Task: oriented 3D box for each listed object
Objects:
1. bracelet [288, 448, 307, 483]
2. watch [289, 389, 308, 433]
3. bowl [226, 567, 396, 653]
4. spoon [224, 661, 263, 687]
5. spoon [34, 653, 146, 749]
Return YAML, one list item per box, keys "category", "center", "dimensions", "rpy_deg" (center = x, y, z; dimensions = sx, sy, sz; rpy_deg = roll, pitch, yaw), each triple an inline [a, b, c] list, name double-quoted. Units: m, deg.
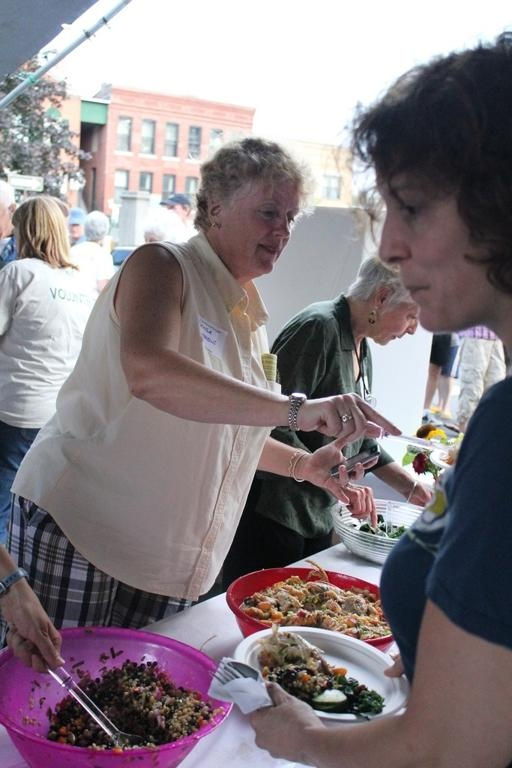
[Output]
- category: "bracelet"
  center: [0.103, 0.219, 1.757]
  dimensions: [0.038, 0.076, 0.066]
  rpy_deg: [3, -43, 32]
- category: "watch"
  center: [0.080, 0.049, 1.221]
  dimensions: [0.043, 0.059, 0.060]
  rpy_deg: [4, 21, 12]
- category: "bowl"
  center: [0.104, 0.492, 1.520]
  dimensions: [0.248, 0.077, 0.228]
  rpy_deg: [1, 8, 0]
- category: "spoon"
  center: [-0.021, 0.404, 0.932]
  dimensions: [0.083, 0.021, 0.014]
  rpy_deg: [-3, -25, 42]
- category: "spoon"
  center: [-0.245, 0.500, 1.015]
  dimensions: [0.241, 0.039, 0.060]
  rpy_deg: [39, 11, 25]
